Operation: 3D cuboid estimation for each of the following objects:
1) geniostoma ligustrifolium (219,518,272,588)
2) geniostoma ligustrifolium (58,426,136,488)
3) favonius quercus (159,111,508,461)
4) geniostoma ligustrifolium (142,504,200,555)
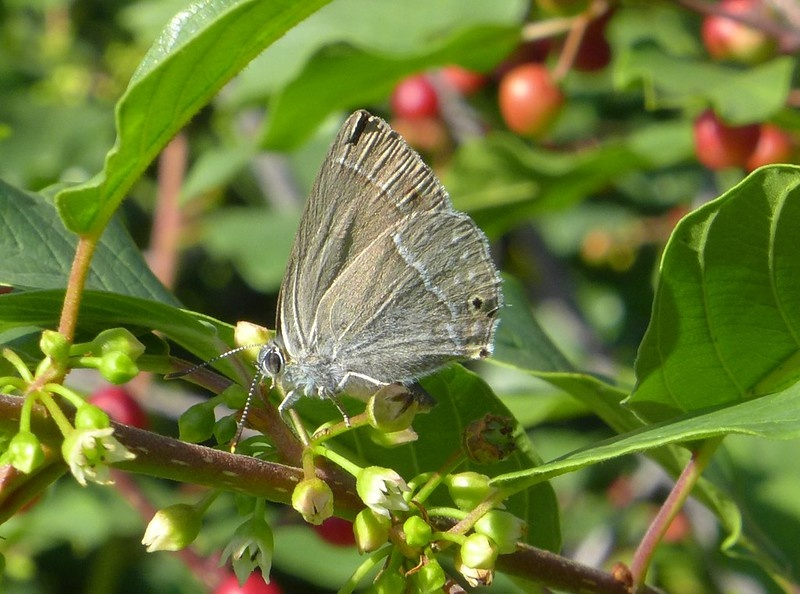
[{"bbox_3d":[-0.396,0.657,2.408,0.142,0.083,0.177,4,84,-18],"label":"geniostoma ligustrifolium"},{"bbox_3d":[-0.692,0.355,2.073,0.138,0.079,0.140,-25,41,1],"label":"geniostoma ligustrifolium"},{"bbox_3d":[-0.112,-0.085,2.855,0.795,0.731,0.563,-29,45,-15],"label":"favonius quercus"},{"bbox_3d":[-0.598,0.631,2.399,0.102,0.143,0.107,-20,17,-29],"label":"geniostoma ligustrifolium"}]
